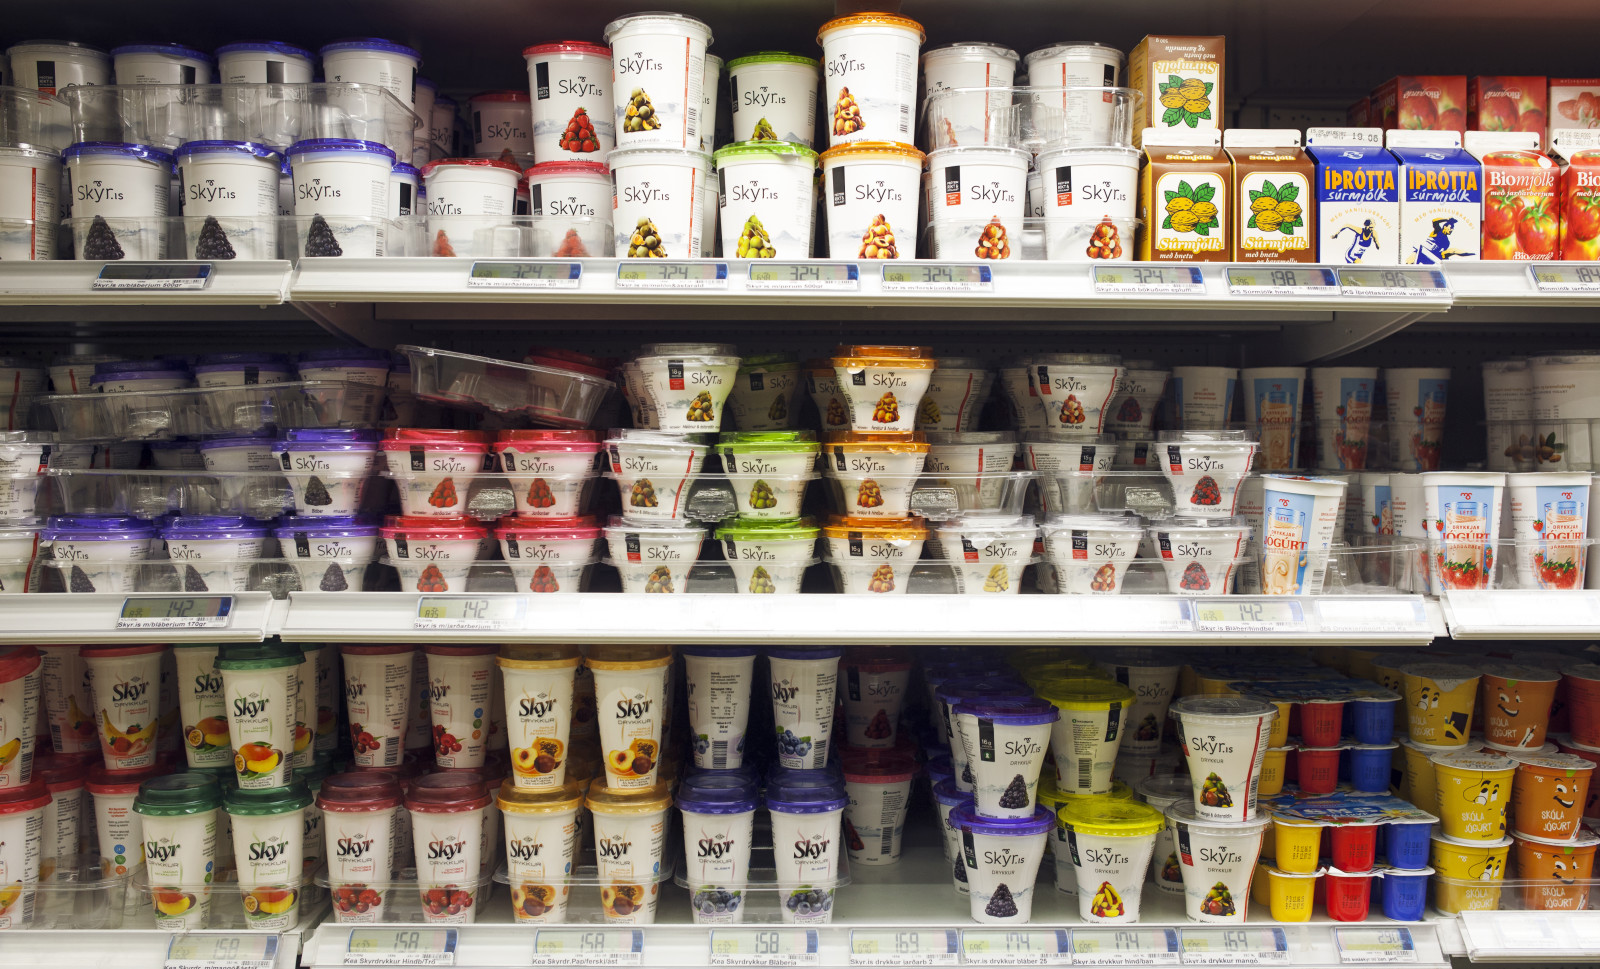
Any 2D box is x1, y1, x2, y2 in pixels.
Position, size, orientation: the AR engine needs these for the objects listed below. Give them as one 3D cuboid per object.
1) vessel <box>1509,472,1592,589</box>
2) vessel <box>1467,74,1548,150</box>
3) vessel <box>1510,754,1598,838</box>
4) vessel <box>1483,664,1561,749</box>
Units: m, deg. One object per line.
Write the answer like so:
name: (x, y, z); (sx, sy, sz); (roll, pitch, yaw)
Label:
vessel: (1.763, 0.108, 3.504); (0.172, 0.268, 0.083); (-3, 6, 19)
vessel: (1.802, -0.927, 3.698); (0.128, 0.166, 0.207); (-18, 23, -27)
vessel: (1.794, 0.740, 3.596); (0.225, 0.164, 0.199); (0, -3, 4)
vessel: (1.778, 0.562, 3.699); (0.209, 0.159, 0.208); (1, -9, 32)
